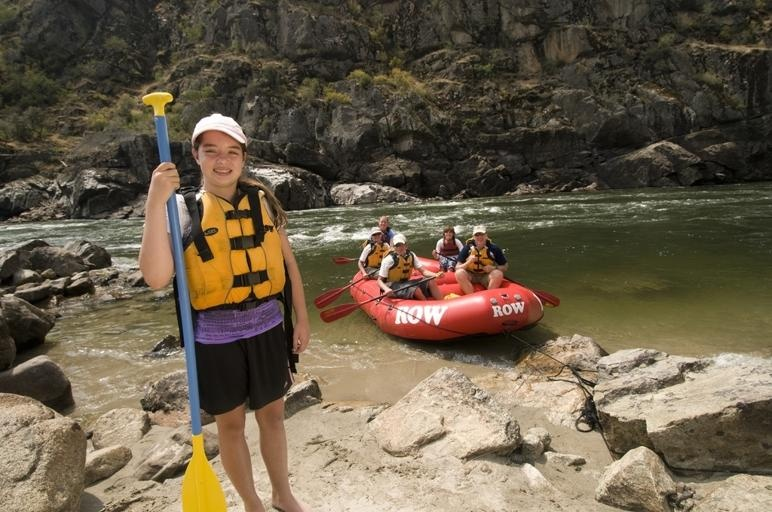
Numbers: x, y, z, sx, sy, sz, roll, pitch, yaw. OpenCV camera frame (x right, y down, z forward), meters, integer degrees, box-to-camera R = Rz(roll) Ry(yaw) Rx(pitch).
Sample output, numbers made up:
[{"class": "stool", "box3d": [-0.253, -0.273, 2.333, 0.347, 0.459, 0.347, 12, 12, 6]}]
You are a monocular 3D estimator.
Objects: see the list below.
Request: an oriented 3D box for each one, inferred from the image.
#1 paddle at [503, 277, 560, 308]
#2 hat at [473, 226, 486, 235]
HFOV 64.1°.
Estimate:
[{"class": "paddle", "box3d": [3.995, 0.949, 17.751, 2.007, 0.140, 0.670, 32, 25, 33]}, {"class": "hat", "box3d": [2.706, -0.757, 17.858, 0.391, 0.187, 0.565, -2, -2, 11]}]
